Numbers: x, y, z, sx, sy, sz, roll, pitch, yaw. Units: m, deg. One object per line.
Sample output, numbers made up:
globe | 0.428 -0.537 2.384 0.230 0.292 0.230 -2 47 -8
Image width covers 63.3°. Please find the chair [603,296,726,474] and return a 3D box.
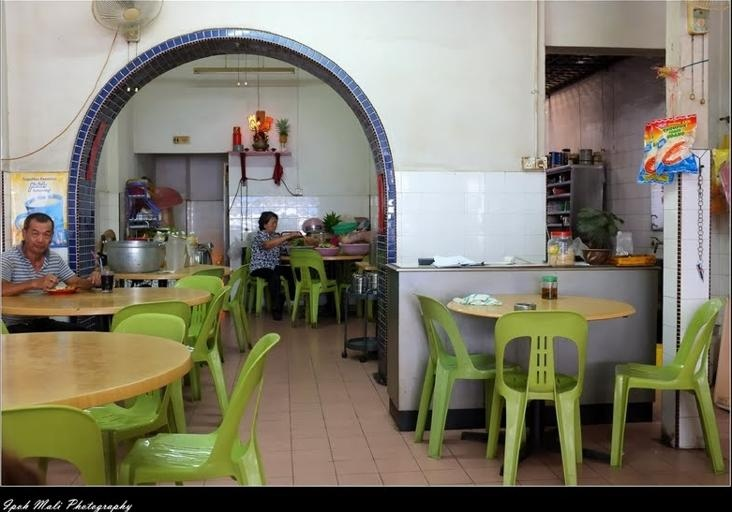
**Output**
chair | 2.110 0.858 4.131 0.796 1.120 0.625 1 5 14

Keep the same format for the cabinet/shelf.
cabinet/shelf | 3.076 -0.848 8.840 0.873 1.002 0.784 2 6 32

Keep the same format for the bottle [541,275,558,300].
bottle | 1.387 0.234 4.547 0.156 0.212 0.152 0 -2 0

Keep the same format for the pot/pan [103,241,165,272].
pot/pan | -2.267 0.005 5.797 0.517 0.243 0.507 0 3 24

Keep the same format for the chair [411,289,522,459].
chair | 0.764 0.891 4.318 0.789 1.053 0.739 6 -3 -17

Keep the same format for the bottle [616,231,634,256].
bottle | 2.175 -0.105 4.981 0.117 0.182 0.283 1 5 22

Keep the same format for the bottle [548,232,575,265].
bottle | 1.600 -0.052 4.994 0.279 0.301 0.242 -2 -3 28

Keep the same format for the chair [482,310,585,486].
chair | 1.116 0.875 3.925 0.629 1.112 0.749 1 5 18

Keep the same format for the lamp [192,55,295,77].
lamp | -1.944 -3.025 9.516 1.656 0.235 0.157 -1 5 -4
